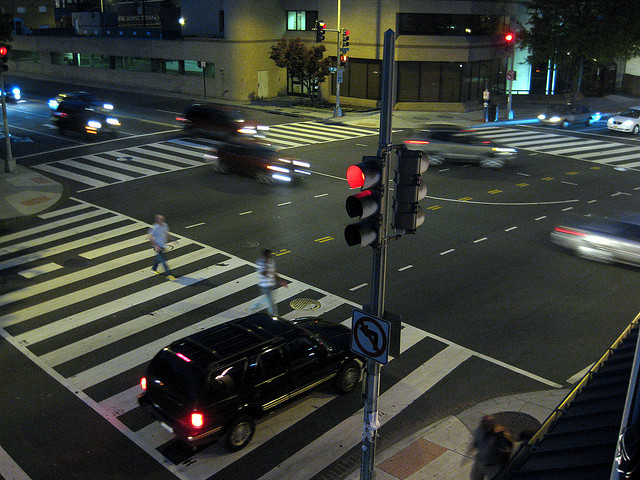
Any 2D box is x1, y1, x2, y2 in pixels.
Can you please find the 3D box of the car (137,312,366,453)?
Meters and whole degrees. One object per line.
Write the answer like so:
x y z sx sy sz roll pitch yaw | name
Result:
-1.428 2.801 12.229 2.373 1.510 5.321 23 26 39 | car

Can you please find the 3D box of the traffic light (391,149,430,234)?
1.293 -0.659 7.764 0.465 1.286 0.575 3 21 7 | traffic light

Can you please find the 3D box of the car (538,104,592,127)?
19.540 -9.835 42.505 3.301 1.632 1.693 -4 19 -14 | car

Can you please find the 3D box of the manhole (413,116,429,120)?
8.367 -10.181 44.577 1.289 0.216 1.386 1 15 4 | manhole

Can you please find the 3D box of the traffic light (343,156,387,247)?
0.596 -0.481 7.626 0.501 1.375 0.745 10 23 25 | traffic light

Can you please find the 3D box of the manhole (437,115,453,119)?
10.538 -10.427 45.307 1.255 0.266 1.810 2 15 7 | manhole

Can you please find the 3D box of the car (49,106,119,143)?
-15.800 -8.228 36.600 4.689 1.731 2.414 21 31 31 | car

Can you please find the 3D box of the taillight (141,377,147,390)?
-3.665 2.982 11.111 0.215 0.210 0.070 -5 -5 31 | taillight

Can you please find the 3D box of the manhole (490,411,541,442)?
4.264 3.921 11.474 0.827 0.096 0.892 -3 15 -11 | manhole

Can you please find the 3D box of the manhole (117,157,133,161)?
-11.362 -4.709 31.113 0.819 0.113 0.752 -2 15 -7 | manhole

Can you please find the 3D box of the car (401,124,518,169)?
7.850 -5.199 30.419 5.175 2.153 1.841 5 19 17 | car

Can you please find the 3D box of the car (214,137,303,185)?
-3.278 -4.400 28.431 4.737 1.514 2.494 19 39 27 | car

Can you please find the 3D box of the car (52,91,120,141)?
-15.856 -8.623 36.746 4.551 2.140 2.480 30 43 30 | car
